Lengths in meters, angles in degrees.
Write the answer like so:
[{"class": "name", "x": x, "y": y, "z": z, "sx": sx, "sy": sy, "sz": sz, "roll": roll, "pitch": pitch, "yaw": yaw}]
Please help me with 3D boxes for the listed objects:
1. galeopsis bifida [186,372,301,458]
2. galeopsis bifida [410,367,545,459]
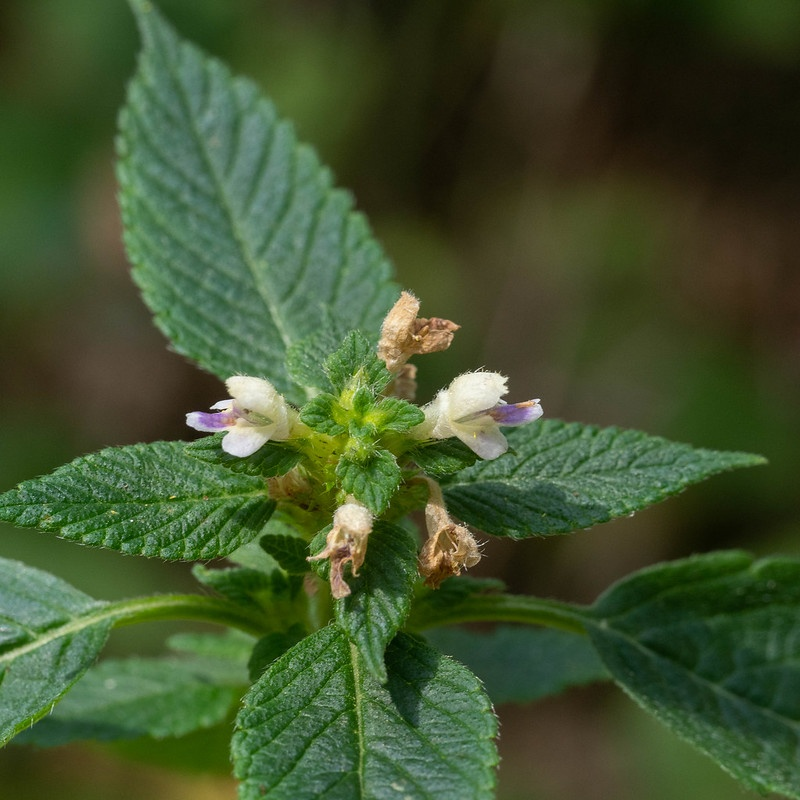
[{"class": "galeopsis bifida", "x": -0.423, "y": 0.019, "z": 2.631, "sx": 0.345, "sy": 0.245, "sz": 0.157, "roll": 6, "pitch": -55, "yaw": 13}, {"class": "galeopsis bifida", "x": 0.166, "y": 0.027, "z": 2.678, "sx": 0.470, "sy": 0.180, "sz": 0.166, "roll": 5, "pitch": -77, "yaw": 24}]
